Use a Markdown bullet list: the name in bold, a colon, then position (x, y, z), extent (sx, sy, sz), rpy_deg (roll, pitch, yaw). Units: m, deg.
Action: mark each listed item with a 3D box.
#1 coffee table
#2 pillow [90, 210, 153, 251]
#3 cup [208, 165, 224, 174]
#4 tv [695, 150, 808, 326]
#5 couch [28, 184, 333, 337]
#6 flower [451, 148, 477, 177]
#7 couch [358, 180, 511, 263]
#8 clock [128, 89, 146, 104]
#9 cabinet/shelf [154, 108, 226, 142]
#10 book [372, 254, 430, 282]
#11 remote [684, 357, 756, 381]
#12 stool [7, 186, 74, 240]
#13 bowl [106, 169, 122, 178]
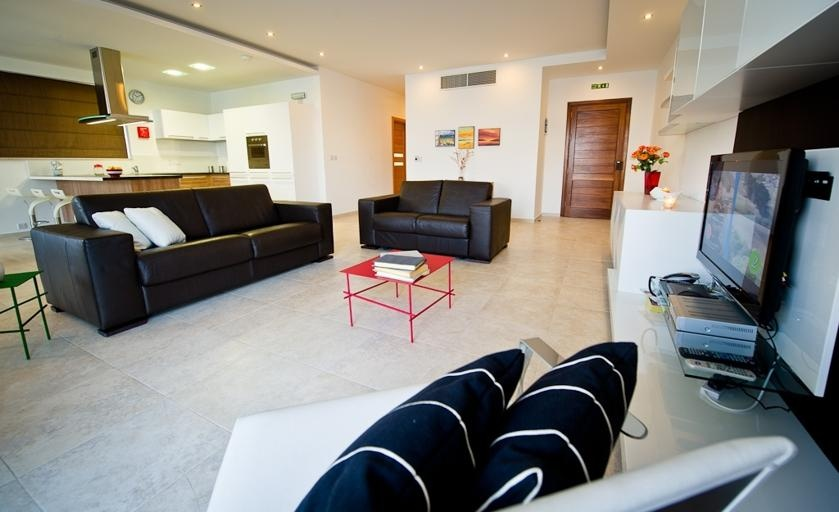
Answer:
- **coffee table**: position (-0.189, 0.357, 4.307), extent (0.998, 0.431, 0.961), rpy_deg (-4, -28, -2)
- **pillow**: position (-2.725, -0.232, 4.376), extent (0.413, 0.336, 0.301), rpy_deg (-9, 18, -32)
- **cup**: position (-4.374, -1.885, 10.298), extent (0.376, 0.134, 0.259), rpy_deg (-5, 16, -19)
- **tv**: position (2.070, -0.097, 2.950), extent (0.166, 0.784, 1.117), rpy_deg (2, 16, 21)
- **couch**: position (-2.271, -0.090, 4.789), extent (0.890, 1.072, 2.266), rpy_deg (14, 20, 40)
- **flower**: position (0.769, -1.661, 8.539), extent (0.512, 0.684, 0.433), rpy_deg (-3, 16, -4)
- **couch**: position (0.185, -0.483, 6.103), extent (1.727, 0.847, 0.786), rpy_deg (7, 17, 24)
- **clock**: position (-5.178, -2.916, 8.717), extent (0.055, 0.213, 0.232), rpy_deg (1, 1, 27)
- **cabinet/shelf**: position (-4.563, -2.559, 9.370), extent (1.181, 0.556, 0.618), rpy_deg (-11, 19, -36)
- **book**: position (-0.165, 0.083, 4.107), extent (0.428, 0.174, 0.391), rpy_deg (8, 16, 26)
- **remote**: position (1.790, 0.691, 2.852), extent (0.393, 0.108, 0.104), rpy_deg (3, 16, 10)
- **stool**: position (-5.253, -0.610, 6.553), extent (0.920, 0.882, 0.677), rpy_deg (10, 14, 34)
- **bowl**: position (-4.605, -1.238, 7.161), extent (0.210, 0.108, 0.198), rpy_deg (0, 4, 0)
